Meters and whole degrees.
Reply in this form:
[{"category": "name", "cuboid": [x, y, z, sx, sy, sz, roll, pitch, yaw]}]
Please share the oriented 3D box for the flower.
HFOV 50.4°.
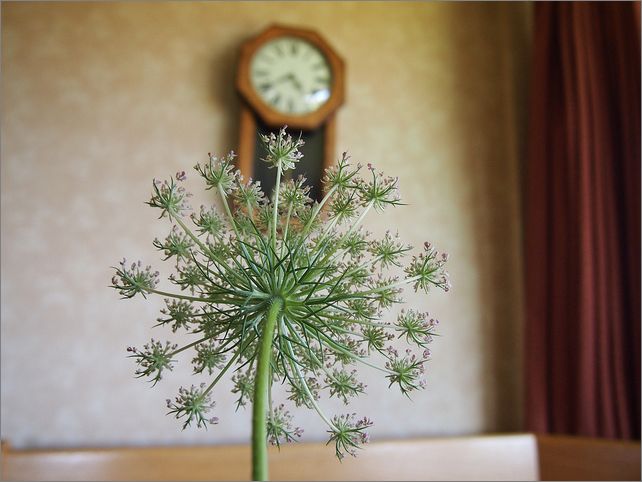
[{"category": "flower", "cuboid": [-0.197, 0.228, 2.247, 0.680, 1.181, 0.721, 18, -54, -13]}]
